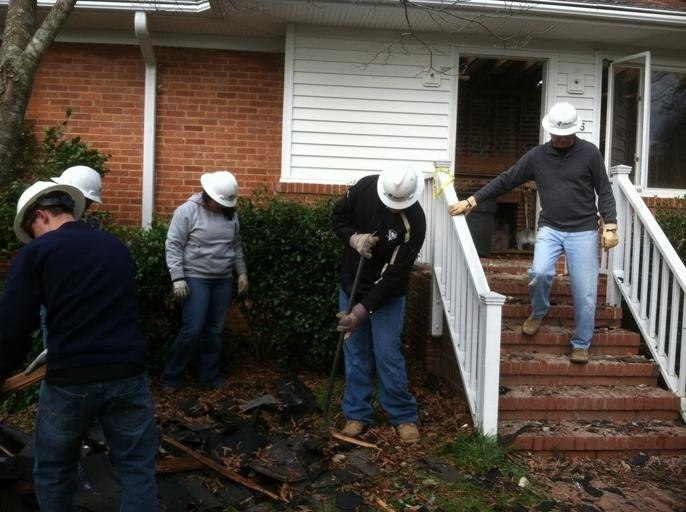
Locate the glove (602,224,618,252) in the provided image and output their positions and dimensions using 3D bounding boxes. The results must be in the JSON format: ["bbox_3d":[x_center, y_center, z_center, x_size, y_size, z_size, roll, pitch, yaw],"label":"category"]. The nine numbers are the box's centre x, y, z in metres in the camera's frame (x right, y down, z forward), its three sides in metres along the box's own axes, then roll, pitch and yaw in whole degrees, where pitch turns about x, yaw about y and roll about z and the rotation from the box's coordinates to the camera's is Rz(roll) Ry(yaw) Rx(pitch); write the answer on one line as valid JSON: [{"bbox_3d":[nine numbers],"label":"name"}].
[{"bbox_3d":[2.860,-0.197,7.166,0.136,0.319,0.272,7,15,17],"label":"glove"}]

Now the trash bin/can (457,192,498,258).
[{"bbox_3d":[2.053,-0.454,10.365,0.574,0.850,0.474,2,-1,-25],"label":"trash bin/can"}]

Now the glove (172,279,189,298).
[{"bbox_3d":[-1.770,0.356,7.271,0.145,0.204,0.073,3,-4,-10],"label":"glove"}]

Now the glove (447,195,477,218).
[{"bbox_3d":[1.304,-0.516,7.288,0.286,0.185,0.086,-29,-32,27],"label":"glove"}]

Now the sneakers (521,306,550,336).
[{"bbox_3d":[2.062,0.767,7.315,0.147,0.448,0.183,42,-23,20],"label":"sneakers"}]

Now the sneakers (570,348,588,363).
[{"bbox_3d":[2.498,1.058,7.052,0.176,0.147,0.123,8,15,19],"label":"sneakers"}]

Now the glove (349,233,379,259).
[{"bbox_3d":[0.184,-0.102,6.502,0.299,0.240,0.232,11,16,26],"label":"glove"}]

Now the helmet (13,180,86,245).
[{"bbox_3d":[-2.245,-0.329,5.164,0.433,0.252,0.489,-28,-9,29],"label":"helmet"}]

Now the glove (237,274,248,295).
[{"bbox_3d":[-1.160,0.336,7.678,0.143,0.092,0.202,10,-36,-15],"label":"glove"}]

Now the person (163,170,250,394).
[{"bbox_3d":[-1.545,0.283,7.478,0.976,2.421,0.623,-3,15,-22],"label":"person"}]

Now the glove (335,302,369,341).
[{"bbox_3d":[0.069,0.625,6.465,0.170,0.359,0.269,43,9,8],"label":"glove"}]

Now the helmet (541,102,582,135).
[{"bbox_3d":[2.342,-1.498,7.124,0.397,0.226,0.526,6,38,31],"label":"helmet"}]

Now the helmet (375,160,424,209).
[{"bbox_3d":[0.566,-0.741,6.404,0.427,0.568,0.215,18,-31,17],"label":"helmet"}]

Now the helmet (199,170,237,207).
[{"bbox_3d":[-1.332,-0.773,7.349,0.455,0.232,0.412,23,33,-22],"label":"helmet"}]

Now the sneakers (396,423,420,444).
[{"bbox_3d":[0.641,1.747,6.599,0.228,0.142,0.197,4,15,3],"label":"sneakers"}]

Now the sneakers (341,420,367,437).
[{"bbox_3d":[0.092,1.710,6.592,0.102,0.106,0.241,0,-14,22],"label":"sneakers"}]
